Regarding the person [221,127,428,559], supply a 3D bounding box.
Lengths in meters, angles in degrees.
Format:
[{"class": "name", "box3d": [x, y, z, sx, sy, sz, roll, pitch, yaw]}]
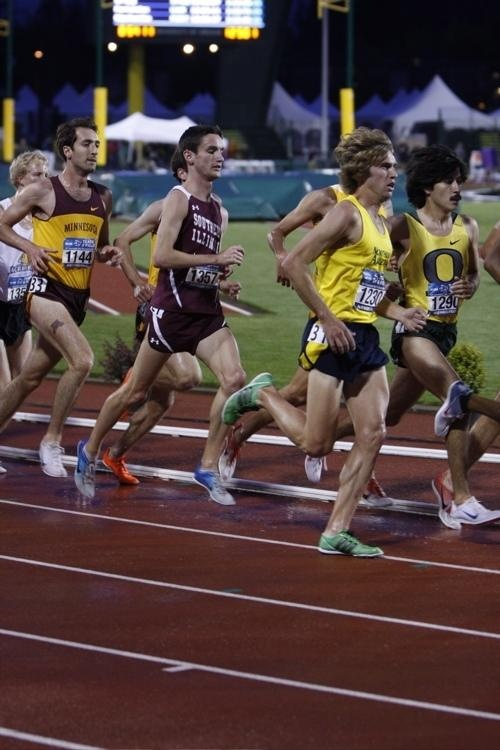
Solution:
[{"class": "person", "box3d": [0.344, 0.019, 3.597, 0.747, 1.834, 0.715, 0, -2, 40]}]

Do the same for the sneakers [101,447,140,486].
[{"class": "sneakers", "box3d": [-0.996, 0.709, 5.257, 0.142, 0.304, 0.102, -40, 18, 16]}]

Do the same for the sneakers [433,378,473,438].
[{"class": "sneakers", "box3d": [1.141, 0.198, 3.956, 0.155, 0.342, 0.210, 29, 40, 3]}]

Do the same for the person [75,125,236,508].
[{"class": "person", "box3d": [-0.498, -0.362, 4.425, 1.071, 2.449, 0.829, 1, -1, 12]}]

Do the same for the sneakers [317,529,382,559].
[{"class": "sneakers", "box3d": [0.491, 0.874, 3.610, 0.390, 0.150, 0.122, 2, -4, 8]}]

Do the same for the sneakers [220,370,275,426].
[{"class": "sneakers", "box3d": [-0.036, 0.152, 4.069, 0.462, 0.159, 0.185, -36, 13, 52]}]

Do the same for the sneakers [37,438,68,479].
[{"class": "sneakers", "box3d": [-1.481, 0.632, 5.261, 0.150, 0.150, 0.402, -3, 18, -31]}]

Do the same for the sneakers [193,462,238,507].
[{"class": "sneakers", "box3d": [-0.246, 0.747, 4.649, 0.388, 0.154, 0.134, 43, 29, 6]}]
